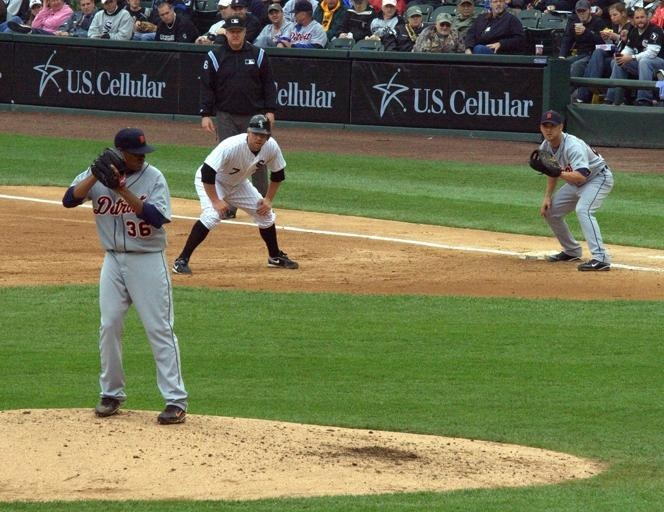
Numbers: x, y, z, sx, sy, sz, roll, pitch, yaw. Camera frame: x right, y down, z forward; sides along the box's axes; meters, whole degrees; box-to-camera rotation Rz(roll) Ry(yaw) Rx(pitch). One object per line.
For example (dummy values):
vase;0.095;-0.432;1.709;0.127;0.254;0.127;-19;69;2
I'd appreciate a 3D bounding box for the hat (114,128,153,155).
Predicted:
hat;-1.759;-1.005;12.148;0.331;0.158;0.213;5;19;16

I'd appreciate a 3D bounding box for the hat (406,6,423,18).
hat;1.495;-4.472;25.241;0.280;0.157;0.339;0;-2;-5

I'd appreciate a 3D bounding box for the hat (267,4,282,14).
hat;-1.073;-4.613;25.874;0.251;0.156;0.325;-3;-15;5

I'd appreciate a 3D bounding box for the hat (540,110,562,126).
hat;2.561;-1.612;16.310;0.219;0.155;0.321;2;8;6

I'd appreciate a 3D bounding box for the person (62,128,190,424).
person;-1.771;0.172;12.196;1.009;2.571;0.548;1;9;-4

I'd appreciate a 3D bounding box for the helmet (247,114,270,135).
helmet;-0.806;-1.462;15.414;0.206;0.134;0.280;16;9;-15

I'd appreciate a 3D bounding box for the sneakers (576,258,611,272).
sneakers;3.062;0.117;16.419;0.420;0.141;0.138;3;1;0

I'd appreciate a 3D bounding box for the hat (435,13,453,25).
hat;1.943;-4.157;24.351;0.242;0.125;0.284;0;2;-3

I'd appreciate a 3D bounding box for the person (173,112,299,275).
person;-1.129;-0.709;15.885;1.364;1.819;0.961;2;8;5

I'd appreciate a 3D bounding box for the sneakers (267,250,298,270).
sneakers;-0.584;0.055;16.231;0.448;0.183;0.149;4;12;6

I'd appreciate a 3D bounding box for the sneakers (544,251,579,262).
sneakers;2.781;0.013;16.906;0.388;0.126;0.137;4;1;0

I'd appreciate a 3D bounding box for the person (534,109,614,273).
person;2.881;-0.778;16.516;0.889;1.853;0.828;3;9;9

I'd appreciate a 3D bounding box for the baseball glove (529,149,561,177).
baseball glove;2.469;-1.081;16.217;0.402;0.325;0.358;-1;8;-18
